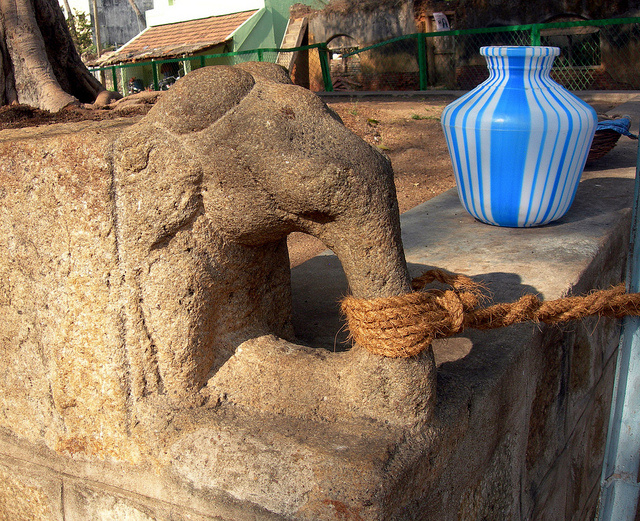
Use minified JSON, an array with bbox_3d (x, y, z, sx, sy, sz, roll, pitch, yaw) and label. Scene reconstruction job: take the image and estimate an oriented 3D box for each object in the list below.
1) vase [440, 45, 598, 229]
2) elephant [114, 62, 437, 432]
[{"bbox_3d":[0.787,-0.501,4.787,0.649,0.699,0.649,16,23,42],"label":"vase"},{"bbox_3d":[-0.069,-0.128,4.014,1.174,1.328,0.953,4,12,18],"label":"elephant"}]
